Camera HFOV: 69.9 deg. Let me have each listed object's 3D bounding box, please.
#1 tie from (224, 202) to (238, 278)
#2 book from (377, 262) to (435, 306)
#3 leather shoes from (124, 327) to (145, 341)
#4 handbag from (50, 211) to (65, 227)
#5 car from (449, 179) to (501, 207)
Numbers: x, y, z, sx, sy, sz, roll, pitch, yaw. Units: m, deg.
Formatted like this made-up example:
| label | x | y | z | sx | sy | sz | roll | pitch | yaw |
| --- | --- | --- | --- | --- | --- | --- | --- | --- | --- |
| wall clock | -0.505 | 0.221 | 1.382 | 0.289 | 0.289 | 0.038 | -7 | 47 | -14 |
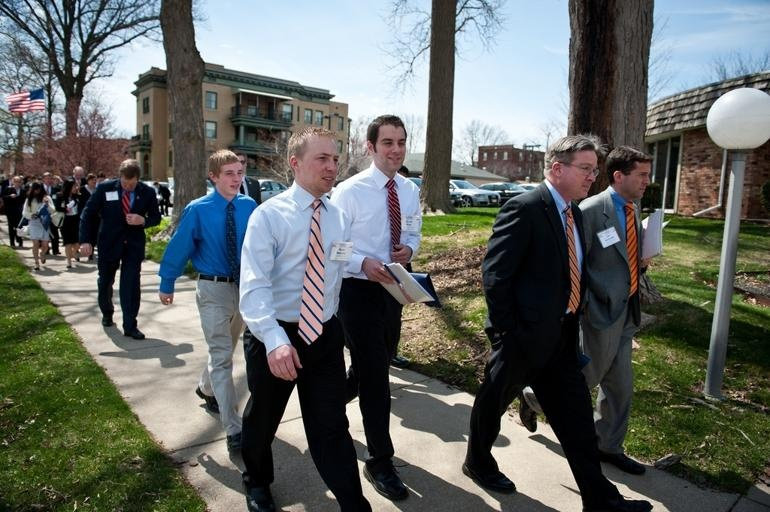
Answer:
| label | x | y | z | sx | sy | sz | roll | pitch | yaw |
| --- | --- | --- | --- | --- | --- | --- | --- | --- | --- |
| tie | -1.555 | -0.139 | 5.553 | 0.114 | 0.784 | 0.202 | -4 | 10 | -17 |
| book | 0.179 | 0.268 | 4.929 | 0.352 | 0.147 | 0.480 | 39 | -20 | -6 |
| leather shoes | -3.465 | 1.062 | 7.634 | 0.356 | 0.146 | 0.134 | 8 | 5 | 29 |
| handbag | -7.371 | -0.842 | 12.354 | 0.155 | 0.295 | 0.221 | 28 | -41 | -28 |
| car | 4.274 | -3.194 | 28.646 | 1.464 | 1.094 | 3.222 | -6 | 11 | -38 |
